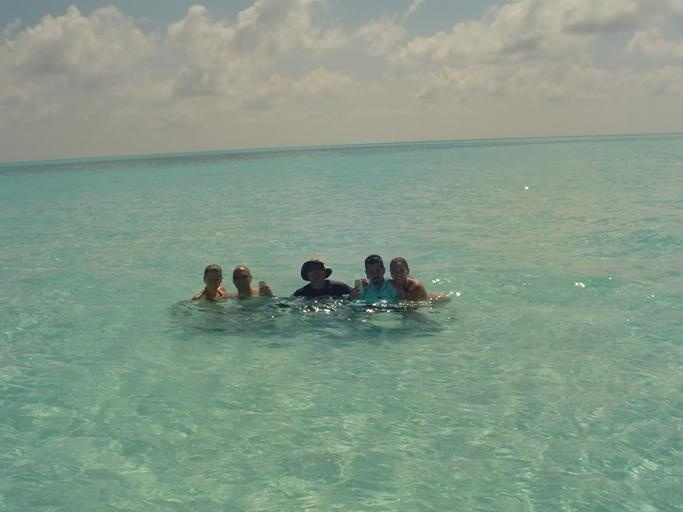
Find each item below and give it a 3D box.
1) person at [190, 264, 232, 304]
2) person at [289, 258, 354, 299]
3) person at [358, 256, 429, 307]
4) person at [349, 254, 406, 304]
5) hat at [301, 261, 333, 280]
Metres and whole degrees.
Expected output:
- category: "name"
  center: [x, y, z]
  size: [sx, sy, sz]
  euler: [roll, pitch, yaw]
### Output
- category: "person"
  center: [-2.703, 0.573, 13.076]
  size: [0.937, 0.671, 0.544]
  euler: [-3, 1, -35]
- category: "person"
  center: [-0.393, 0.674, 12.924]
  size: [1.478, 0.734, 0.771]
  euler: [-2, -17, 1]
- category: "person"
  center: [0.945, 0.589, 12.589]
  size: [0.983, 1.101, 0.514]
  euler: [0, 45, 4]
- category: "person"
  center: [0.732, 0.592, 12.430]
  size: [1.275, 1.077, 0.697]
  euler: [-4, -8, 9]
- category: "hat"
  center: [-0.528, 0.286, 12.819]
  size: [0.578, 0.460, 0.306]
  euler: [-2, 13, -1]
